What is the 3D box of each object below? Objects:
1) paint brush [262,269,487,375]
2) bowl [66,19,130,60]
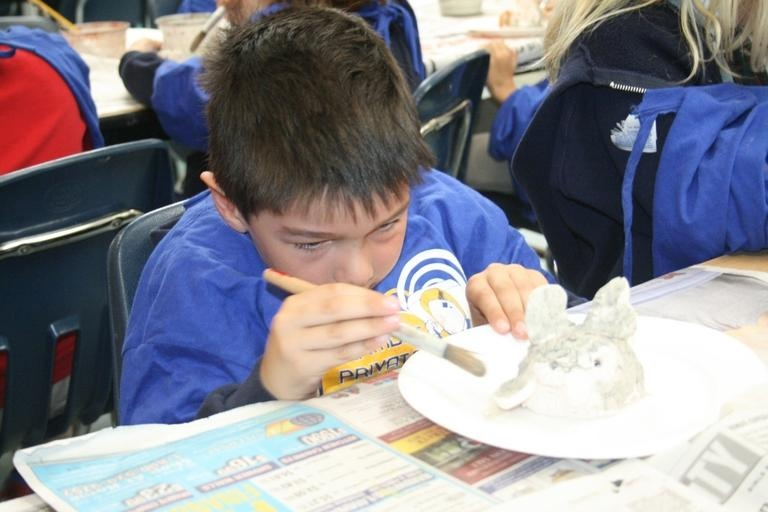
[{"bbox_3d":[-0.022,0.107,1.028,0.319,0.044,0.027,30,-4,4],"label":"paint brush"},{"bbox_3d":[-1.018,-0.762,2.330,0.124,0.150,0.157,14,20,36],"label":"bowl"}]
